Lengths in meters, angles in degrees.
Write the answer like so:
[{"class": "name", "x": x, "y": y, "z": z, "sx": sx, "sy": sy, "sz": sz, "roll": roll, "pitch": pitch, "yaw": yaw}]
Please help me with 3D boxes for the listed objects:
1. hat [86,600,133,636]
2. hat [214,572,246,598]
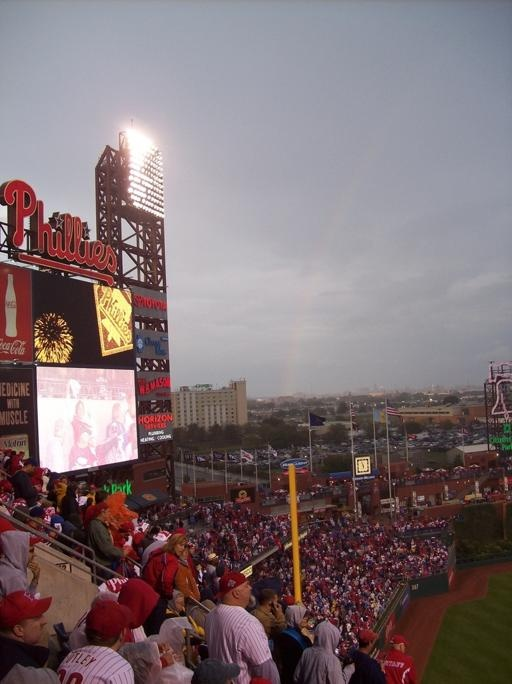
[{"class": "hat", "x": -1.045, "y": 1.974, "z": 4.083, "sx": 0.228, "sy": 0.166, "sz": 0.320, "roll": 4, "pitch": 7, "yaw": 10}, {"class": "hat", "x": -0.242, "y": 2.224, "z": 5.234, "sx": 0.209, "sy": 0.167, "sz": 0.298, "roll": -24, "pitch": -9, "yaw": 3}]
